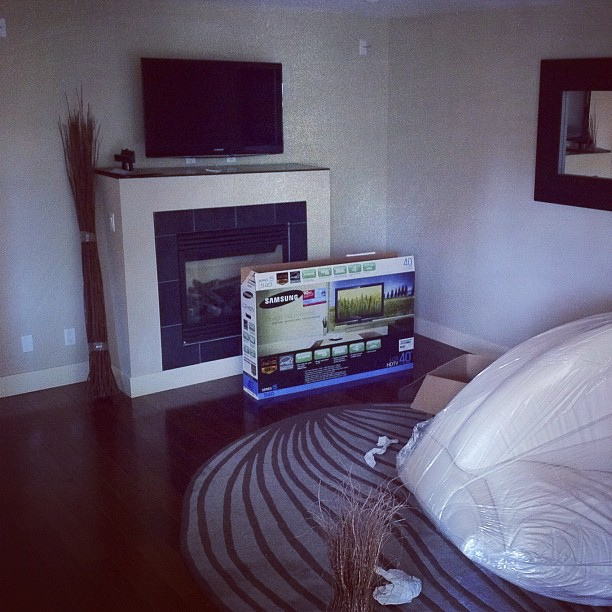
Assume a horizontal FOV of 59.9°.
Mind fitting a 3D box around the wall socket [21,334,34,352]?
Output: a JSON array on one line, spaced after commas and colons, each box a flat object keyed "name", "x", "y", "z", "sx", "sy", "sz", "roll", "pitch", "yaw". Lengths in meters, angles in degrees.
[{"name": "wall socket", "x": -1.739, "y": 0.223, "z": 3.315, "sx": 0.014, "sy": 0.163, "sz": 0.082, "roll": 12, "pitch": 14, "yaw": 37}]

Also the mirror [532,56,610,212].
[{"name": "mirror", "x": 1.522, "y": -1.004, "z": 3.019, "sx": 0.057, "sy": 0.866, "sz": 0.750, "roll": -6, "pitch": 11, "yaw": -24}]

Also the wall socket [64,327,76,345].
[{"name": "wall socket", "x": -1.529, "y": 0.184, "z": 3.439, "sx": 0.012, "sy": 0.126, "sz": 0.080, "roll": 19, "pitch": 24, "yaw": 37}]

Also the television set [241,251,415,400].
[{"name": "television set", "x": 0.173, "y": 0.100, "z": 3.496, "sx": 1.192, "sy": 0.816, "sz": 0.202, "roll": -6, "pitch": 12, "yaw": -24}]

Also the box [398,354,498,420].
[{"name": "box", "x": 0.755, "y": 0.388, "z": 2.766, "sx": 0.422, "sy": 0.196, "sz": 0.317, "roll": -13, "pitch": 10, "yaw": -33}]

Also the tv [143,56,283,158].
[{"name": "tv", "x": -0.612, "y": -1.259, "z": 3.306, "sx": 0.574, "sy": 0.465, "sz": 0.060, "roll": -10, "pitch": 16, "yaw": -32}]

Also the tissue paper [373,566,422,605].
[{"name": "tissue paper", "x": 0.308, "y": 0.911, "z": 1.741, "sx": 0.143, "sy": 0.053, "sz": 0.201, "roll": 3, "pitch": 14, "yaw": 15}]
